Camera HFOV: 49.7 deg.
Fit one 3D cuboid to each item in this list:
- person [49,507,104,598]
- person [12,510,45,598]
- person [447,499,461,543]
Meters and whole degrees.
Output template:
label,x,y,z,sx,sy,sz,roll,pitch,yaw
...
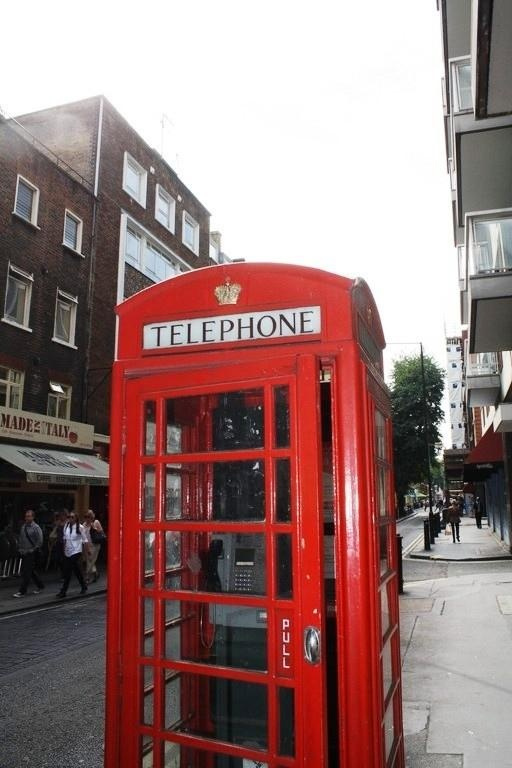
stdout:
label,x,y,z,sx,sy,sz,roll,pitch,yaw
person,-4.076,3.649,12.043,0.554,2.162,1.110,0,-1,18
person,-4.742,3.544,11.588,0.455,1.755,0.740,-4,-6,13
person,8.087,5.660,22.762,0.425,1.546,2.062,-4,-9,19
